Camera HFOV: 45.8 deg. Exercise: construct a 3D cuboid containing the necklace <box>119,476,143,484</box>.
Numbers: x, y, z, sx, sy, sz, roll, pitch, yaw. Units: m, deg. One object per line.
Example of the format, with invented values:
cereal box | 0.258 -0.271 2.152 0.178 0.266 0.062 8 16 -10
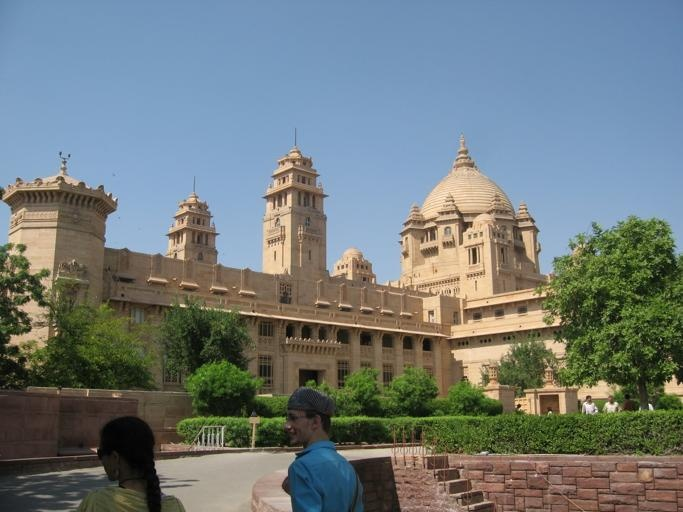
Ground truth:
necklace | -3.844 4.030 14.666 0.433 0.118 0.091 -4 -15 4
